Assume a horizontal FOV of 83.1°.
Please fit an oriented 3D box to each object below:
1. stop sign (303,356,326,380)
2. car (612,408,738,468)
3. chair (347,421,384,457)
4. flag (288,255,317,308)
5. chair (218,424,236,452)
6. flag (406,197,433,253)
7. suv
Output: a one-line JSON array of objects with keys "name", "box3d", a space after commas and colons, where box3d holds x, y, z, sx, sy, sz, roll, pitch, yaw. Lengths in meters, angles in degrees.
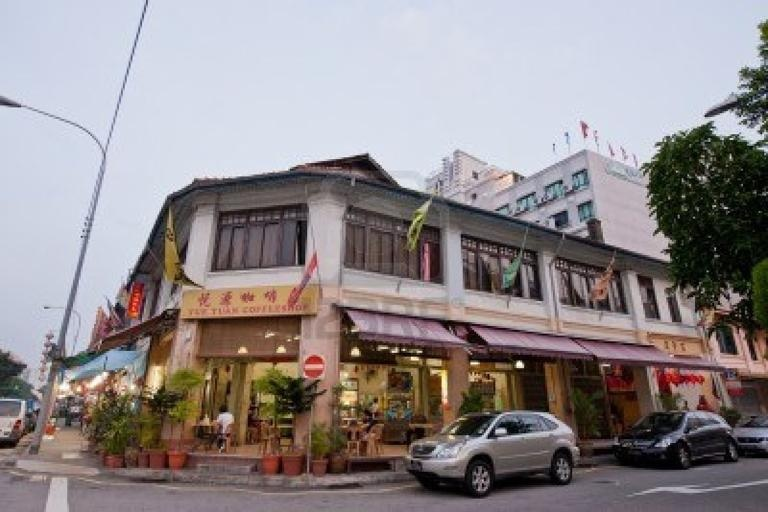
[{"name": "stop sign", "box3d": [-2.501, 4.031, 15.559, 0.914, 1.011, 0.396, 2, -6, 3]}, {"name": "car", "box3d": [11.727, 7.196, 17.180, 5.262, 1.993, 2.007, 7, -24, -20]}, {"name": "chair", "box3d": [-0.689, 6.742, 16.074, 1.006, 1.205, 1.805, -15, -27, 30]}, {"name": "flag", "box3d": [-2.964, 0.777, 16.427, 0.744, 2.068, 1.427, 12, -26, -29]}, {"name": "chair", "box3d": [-6.006, 6.882, 16.318, 0.461, 0.909, 0.709, 8, -24, -20]}, {"name": "flag", "box3d": [1.453, -1.431, 17.904, 1.027, 2.577, 2.887, -3, -23, 3]}, {"name": "suv", "box3d": [3.407, 5.877, 13.113, 5.048, 2.266, 1.436, 9, -25, -24]}]
